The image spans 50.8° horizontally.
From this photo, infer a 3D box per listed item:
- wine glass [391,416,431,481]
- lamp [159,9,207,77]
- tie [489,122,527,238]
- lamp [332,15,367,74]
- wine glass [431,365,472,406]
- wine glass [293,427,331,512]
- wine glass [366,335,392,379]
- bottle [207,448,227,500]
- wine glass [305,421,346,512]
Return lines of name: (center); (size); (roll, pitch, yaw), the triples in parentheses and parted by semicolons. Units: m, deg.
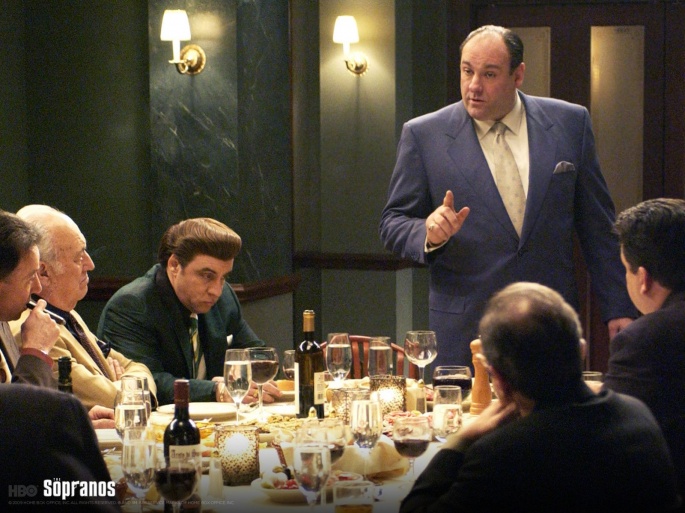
wine glass: (0.210, 0.530, 2.001); (0.098, 0.184, 0.109); (-1, 0, 39)
lamp: (-1.059, -1.412, 4.757); (0.298, 0.427, 0.232); (-1, -1, 3)
tie: (0.755, -0.367, 3.356); (0.107, 0.600, 0.049); (-12, -13, 4)
lamp: (0.062, -1.631, 5.657); (0.234, 0.453, 0.181); (0, -1, -39)
wine glass: (0.394, 0.453, 2.621); (0.137, 0.176, 0.151); (0, -4, 5)
wine glass: (-0.080, 0.561, 1.913); (0.088, 0.171, 0.266); (-1, -1, -3)
wine glass: (0.154, 0.387, 2.781); (0.108, 0.202, 0.124); (0, -2, -11)
bottle: (-0.348, 0.594, 1.993); (0.043, 0.106, 0.177); (-1, -1, -9)
wine glass: (-0.044, 0.572, 2.033); (0.128, 0.257, 0.143); (1, -1, -41)
